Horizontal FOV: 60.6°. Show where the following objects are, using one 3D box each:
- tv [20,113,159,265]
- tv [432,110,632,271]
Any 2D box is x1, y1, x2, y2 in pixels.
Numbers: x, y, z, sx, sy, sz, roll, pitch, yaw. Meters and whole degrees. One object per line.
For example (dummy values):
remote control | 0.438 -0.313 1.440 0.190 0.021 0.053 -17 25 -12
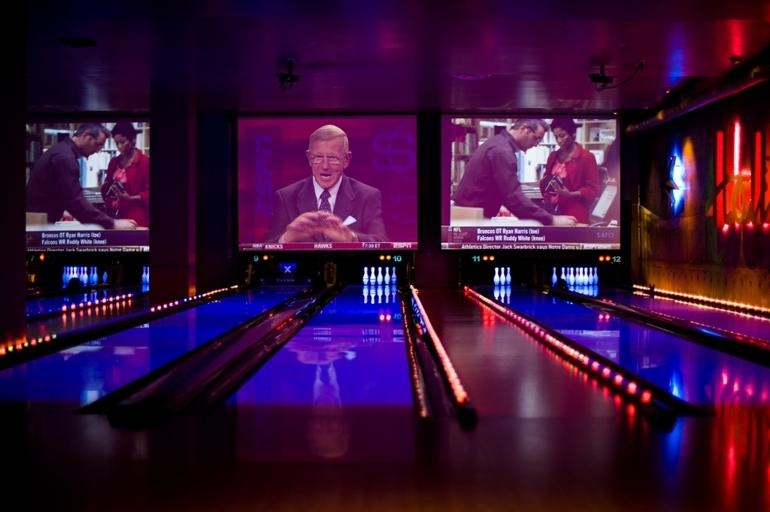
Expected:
tv | -4.169 -0.895 9.322 2.053 2.413 0.106 0 2 4
tv | 2.130 -0.984 9.485 2.114 1.687 0.094 1 2 5
